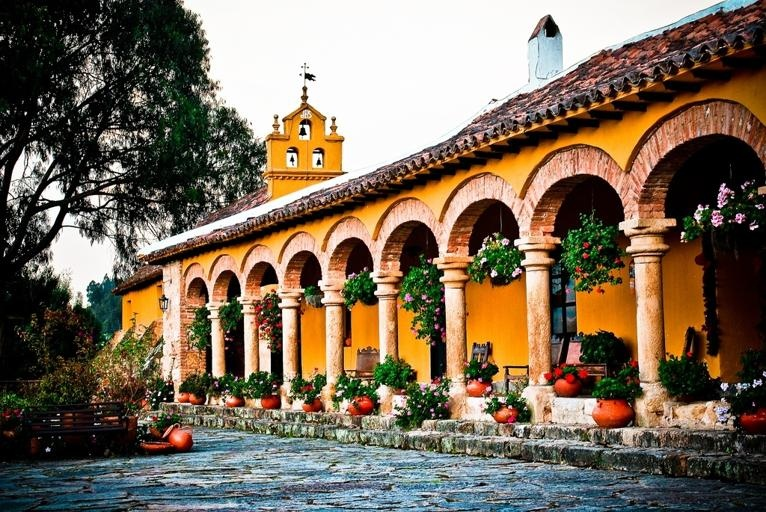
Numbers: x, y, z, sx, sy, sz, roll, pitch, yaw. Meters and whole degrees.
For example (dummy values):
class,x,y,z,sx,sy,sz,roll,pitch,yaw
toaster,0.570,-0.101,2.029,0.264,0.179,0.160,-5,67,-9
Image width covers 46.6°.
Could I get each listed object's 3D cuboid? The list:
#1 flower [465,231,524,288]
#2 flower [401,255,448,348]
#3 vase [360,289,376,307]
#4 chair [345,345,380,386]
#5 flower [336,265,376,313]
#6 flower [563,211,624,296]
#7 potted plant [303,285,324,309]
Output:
class,x,y,z,sx,sy,sz,roll,pitch,yaw
flower,1.786,-0.087,14.170,0.720,0.983,1.269,1,-17,-6
flower,0.662,0.812,15.970,0.967,1.506,1.021,-4,-9,-19
vase,-0.319,0.811,17.084,0.283,0.246,0.272,3,-7,5
chair,-0.435,2.359,19.356,0.766,1.122,0.742,-1,-13,12
flower,-0.467,0.649,17.275,0.699,0.682,0.736,-8,-13,33
flower,2.892,-0.076,12.303,0.823,1.172,0.452,-5,-16,14
potted plant,-1.577,0.852,19.742,0.417,0.481,0.923,1,-17,-5
